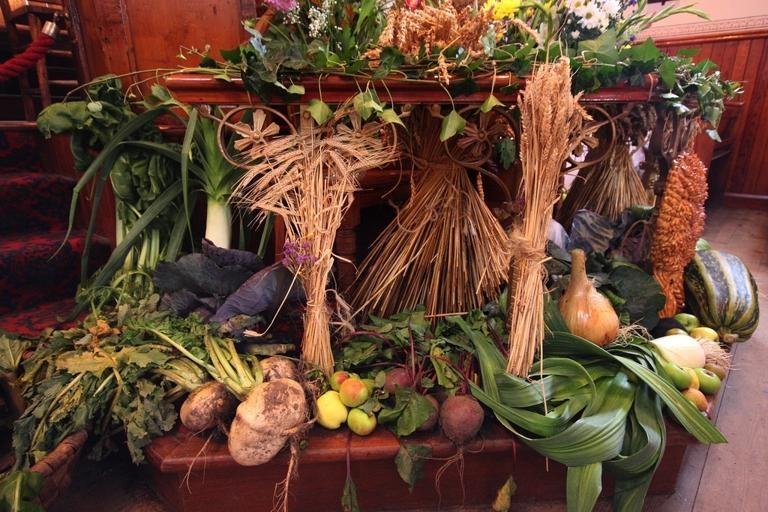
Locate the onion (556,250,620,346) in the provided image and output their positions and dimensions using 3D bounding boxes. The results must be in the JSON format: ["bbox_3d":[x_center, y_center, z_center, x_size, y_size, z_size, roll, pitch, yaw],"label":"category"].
[{"bbox_3d":[0.902,0.182,2.280,0.287,0.424,0.281,-2,14,39],"label":"onion"}]
